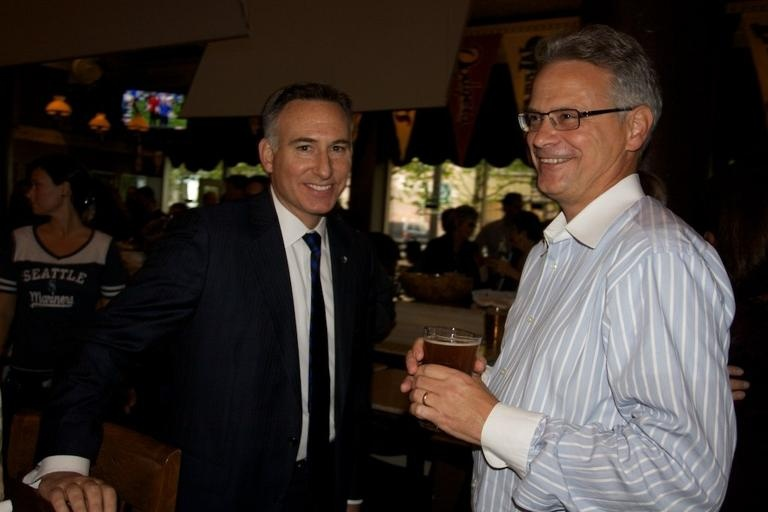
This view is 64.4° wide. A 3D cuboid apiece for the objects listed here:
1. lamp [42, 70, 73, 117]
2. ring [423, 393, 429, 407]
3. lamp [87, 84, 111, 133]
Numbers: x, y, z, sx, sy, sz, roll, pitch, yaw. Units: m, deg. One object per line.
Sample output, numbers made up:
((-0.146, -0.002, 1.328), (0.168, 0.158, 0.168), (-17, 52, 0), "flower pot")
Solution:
((-2.748, -1.348, 5.158), (0.231, 0.356, 0.249), (-9, 10, -35), "lamp")
((0.138, 0.485, 2.071), (0.036, 0.035, 0.030), (1, 4, 6), "ring")
((-2.321, -1.160, 5.011), (0.159, 0.262, 0.160), (1, 3, -44), "lamp")
